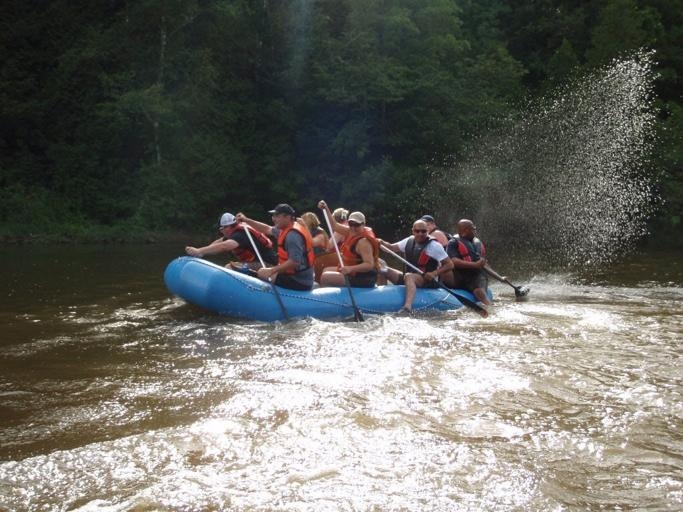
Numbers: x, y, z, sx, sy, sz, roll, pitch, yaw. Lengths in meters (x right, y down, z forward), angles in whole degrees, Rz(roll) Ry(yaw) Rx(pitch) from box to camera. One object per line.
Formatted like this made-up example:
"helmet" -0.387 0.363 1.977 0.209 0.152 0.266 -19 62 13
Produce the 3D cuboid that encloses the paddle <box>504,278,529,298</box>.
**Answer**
"paddle" 3.433 0.653 13.987 0.549 0.208 0.304 28 -39 -8

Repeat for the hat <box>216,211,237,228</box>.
"hat" -2.074 -0.625 12.560 0.391 0.193 0.238 5 26 26

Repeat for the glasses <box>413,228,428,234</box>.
"glasses" 1.331 -0.434 12.364 0.219 0.097 0.169 -2 7 2

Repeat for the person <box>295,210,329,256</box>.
"person" -0.547 -0.418 13.246 0.622 0.769 0.268 -37 15 -34

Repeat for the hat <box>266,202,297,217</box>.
"hat" -0.943 -0.727 11.554 0.313 0.177 0.286 -5 8 -21

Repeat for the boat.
"boat" -0.684 0.675 11.738 3.555 0.711 1.605 5 -5 -22

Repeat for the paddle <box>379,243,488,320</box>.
"paddle" 1.605 0.466 12.387 2.434 0.202 0.154 28 -5 14

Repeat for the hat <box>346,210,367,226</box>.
"hat" 0.239 -0.628 11.915 0.317 0.200 0.409 4 -15 12

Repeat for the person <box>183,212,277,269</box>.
"person" -1.862 -0.275 12.412 1.542 1.037 0.894 1 -1 -18
